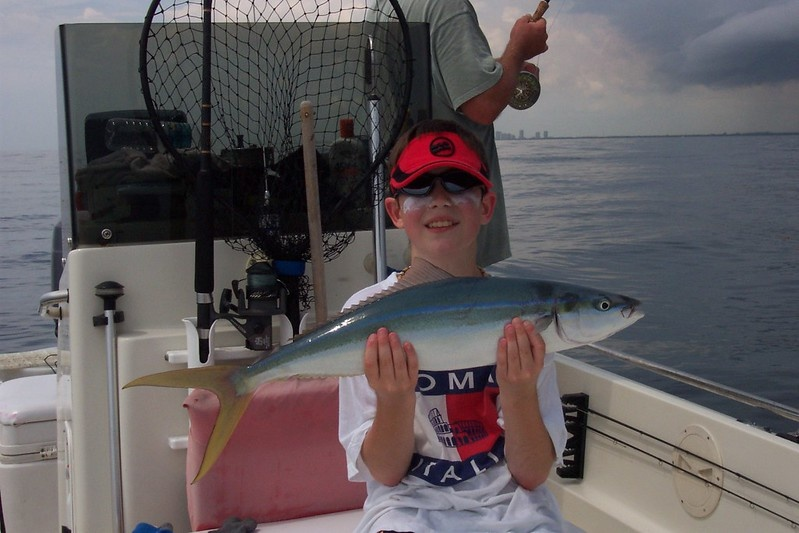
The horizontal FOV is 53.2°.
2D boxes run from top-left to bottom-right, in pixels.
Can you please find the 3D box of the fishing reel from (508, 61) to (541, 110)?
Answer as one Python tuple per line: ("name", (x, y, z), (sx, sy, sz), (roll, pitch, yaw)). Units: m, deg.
("fishing reel", (0.933, -1.290, 5.856), (0.198, 0.361, 0.355), (7, 22, 7))
